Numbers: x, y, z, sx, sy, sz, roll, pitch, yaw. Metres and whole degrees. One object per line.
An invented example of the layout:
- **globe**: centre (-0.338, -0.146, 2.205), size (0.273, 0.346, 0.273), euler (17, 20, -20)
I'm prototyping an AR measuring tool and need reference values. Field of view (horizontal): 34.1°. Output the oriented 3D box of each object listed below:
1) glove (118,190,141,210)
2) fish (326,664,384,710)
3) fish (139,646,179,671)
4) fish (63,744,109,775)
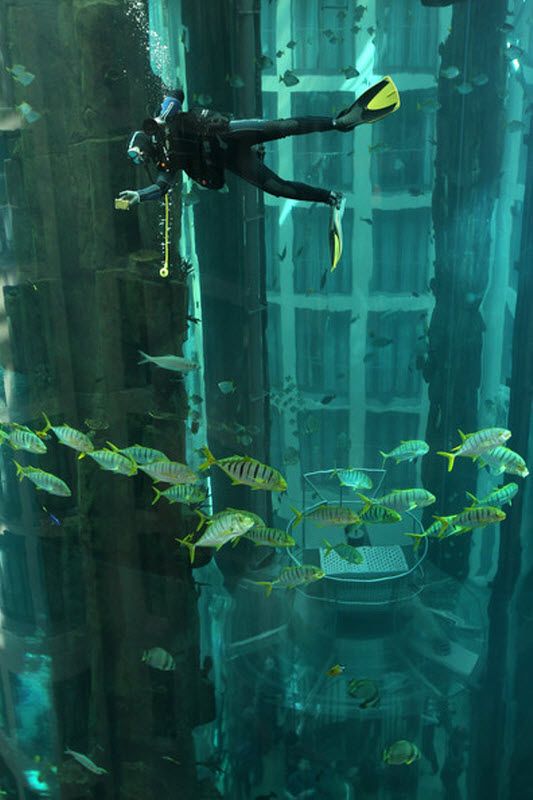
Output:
- **glove**: centre (-0.504, -0.730, 3.141), size (0.089, 0.042, 0.116), euler (0, -18, -19)
- **fish**: centre (0.420, 1.247, 3.767), size (0.134, 0.155, 0.103), euler (6, -51, -4)
- **fish**: centre (-0.476, 1.149, 3.853), size (0.106, 0.105, 0.025), euler (29, -68, 9)
- **fish**: centre (-0.754, 1.480, 3.582), size (0.190, 0.046, 0.033), euler (26, -19, 10)
